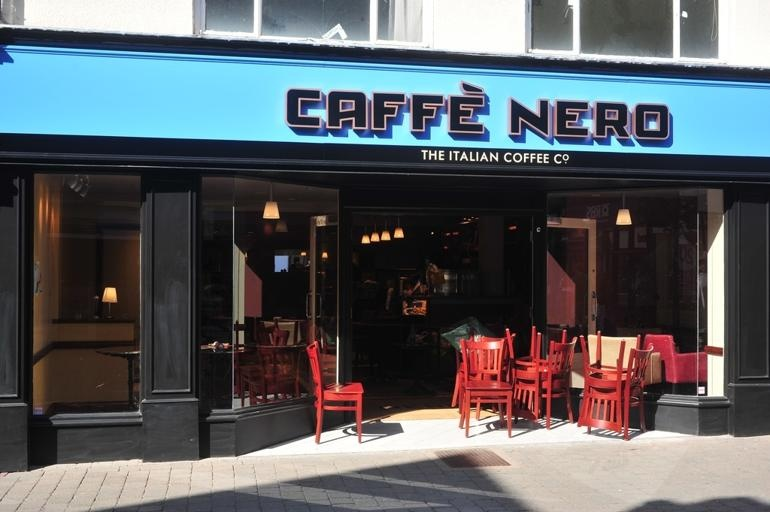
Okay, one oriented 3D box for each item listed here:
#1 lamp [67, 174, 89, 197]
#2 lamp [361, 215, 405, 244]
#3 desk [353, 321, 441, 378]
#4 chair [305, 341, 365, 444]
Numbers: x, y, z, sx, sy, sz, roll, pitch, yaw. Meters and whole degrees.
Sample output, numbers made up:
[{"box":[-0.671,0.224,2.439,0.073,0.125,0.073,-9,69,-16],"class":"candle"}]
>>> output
[{"box":[-4.318,-1.010,11.168,0.293,0.289,0.092,22,9,-25],"class":"lamp"},{"box":[-0.054,-0.513,16.971,0.945,0.580,1.337,0,7,0],"class":"lamp"},{"box":[0.210,1.745,15.802,1.870,1.162,0.992,-1,2,-5],"class":"desk"},{"box":[-0.675,2.022,11.945,0.992,1.276,0.988,-4,-9,34],"class":"chair"}]
